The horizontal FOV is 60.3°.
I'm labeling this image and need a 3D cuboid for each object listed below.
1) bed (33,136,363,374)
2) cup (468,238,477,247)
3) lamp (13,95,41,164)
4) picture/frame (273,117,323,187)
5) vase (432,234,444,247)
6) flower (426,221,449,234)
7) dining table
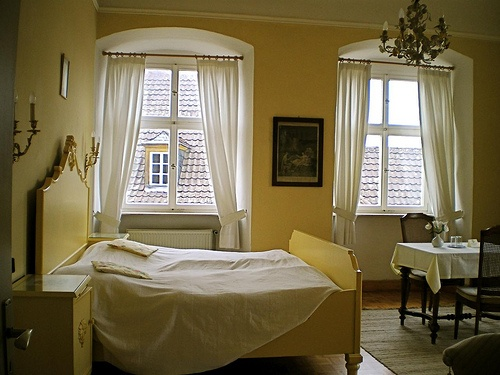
[{"bbox_3d":[-0.404,0.567,4.263,2.821,2.070,1.657,1,2,-7],"label":"bed"},{"bbox_3d":[2.464,0.608,4.777,0.075,0.086,0.080,0,-5,0],"label":"cup"},{"bbox_3d":[-1.683,-0.451,3.245,0.160,0.523,0.631,0,2,-26],"label":"lamp"},{"bbox_3d":[0.566,-0.450,5.365,0.734,1.048,0.048,0,1,-12],"label":"picture/frame"},{"bbox_3d":[2.065,0.579,4.797,0.109,0.174,0.115,1,1,-22],"label":"vase"},{"bbox_3d":[2.108,0.448,4.867,0.214,0.159,0.283,2,2,25],"label":"flower"},{"bbox_3d":[2.051,1.000,4.642,0.814,0.827,0.878,0,3,-15],"label":"dining table"}]
